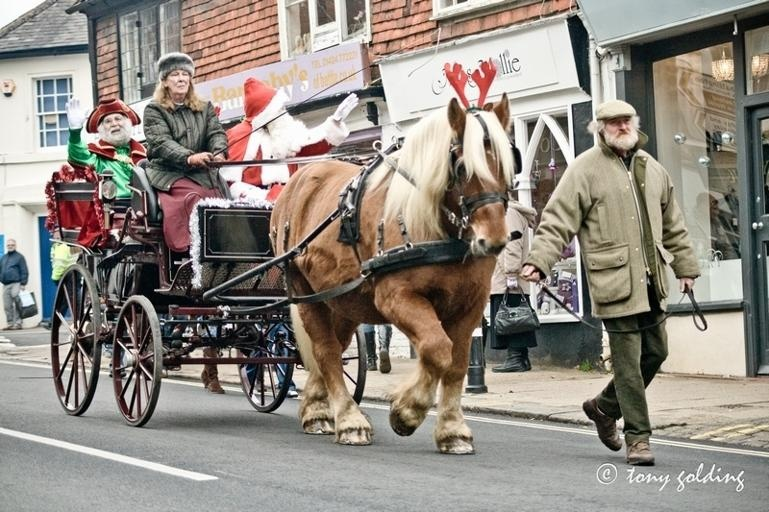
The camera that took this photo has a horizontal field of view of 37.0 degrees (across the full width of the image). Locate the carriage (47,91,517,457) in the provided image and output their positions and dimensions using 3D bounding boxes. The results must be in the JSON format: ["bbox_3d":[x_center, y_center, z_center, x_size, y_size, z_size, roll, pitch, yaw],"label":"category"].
[{"bbox_3d":[-0.102,0.371,11.803,1.368,3.251,5.004,0,-2,-25],"label":"carriage"}]

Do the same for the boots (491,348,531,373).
[{"bbox_3d":[1.737,1.449,15.858,0.628,0.437,0.241,1,-5,5],"label":"boots"}]

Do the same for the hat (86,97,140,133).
[{"bbox_3d":[-3.332,-1.794,14.079,0.696,0.303,0.687,-21,19,-28],"label":"hat"}]

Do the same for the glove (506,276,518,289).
[{"bbox_3d":[1.683,0.348,15.238,0.177,0.174,0.125,6,-11,-37],"label":"glove"}]

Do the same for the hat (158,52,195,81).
[{"bbox_3d":[-2.397,-2.203,13.146,0.317,0.235,0.374,0,-6,-18],"label":"hat"}]

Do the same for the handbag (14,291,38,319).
[{"bbox_3d":[-8.115,1.112,26.078,0.334,0.641,0.499,-5,13,45],"label":"handbag"}]

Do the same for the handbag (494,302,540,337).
[{"bbox_3d":[1.689,0.760,14.857,0.573,0.489,0.227,-10,7,23],"label":"handbag"}]

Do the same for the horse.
[{"bbox_3d":[0.169,0.223,10.837,0.829,3.268,2.619,2,-5,-41],"label":"horse"}]

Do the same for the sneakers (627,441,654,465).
[{"bbox_3d":[2.259,1.747,10.233,0.243,0.218,0.203,-2,-4,15],"label":"sneakers"}]

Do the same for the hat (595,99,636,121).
[{"bbox_3d":[2.029,-1.329,10.373,0.199,0.091,0.257,-3,0,-12],"label":"hat"}]
